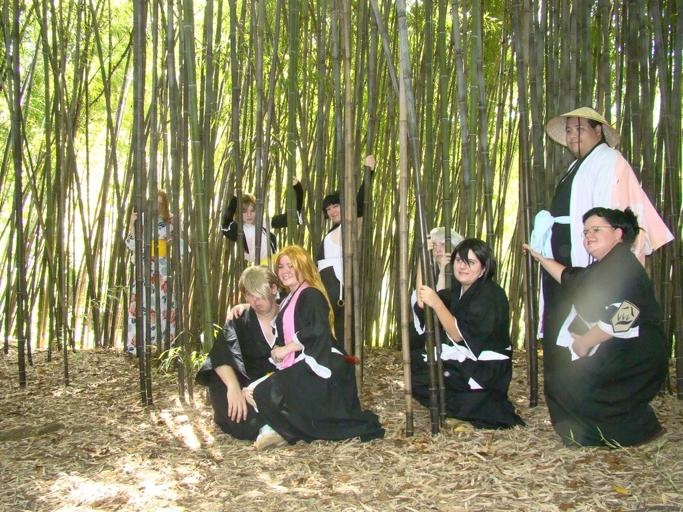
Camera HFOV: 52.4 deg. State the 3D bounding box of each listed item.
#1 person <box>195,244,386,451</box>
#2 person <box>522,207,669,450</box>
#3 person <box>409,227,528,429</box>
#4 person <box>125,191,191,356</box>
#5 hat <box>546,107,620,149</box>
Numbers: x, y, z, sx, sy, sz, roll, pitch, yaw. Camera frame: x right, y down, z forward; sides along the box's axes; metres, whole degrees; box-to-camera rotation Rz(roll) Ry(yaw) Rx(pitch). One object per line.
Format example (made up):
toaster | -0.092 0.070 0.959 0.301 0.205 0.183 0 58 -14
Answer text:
person | -0.258 0.448 3.388 0.786 0.966 0.856 9 -18 -39
person | 1.119 0.293 2.953 0.524 0.988 0.287 3 11 17
person | 0.598 0.330 3.324 0.514 0.845 0.693 1 11 6
person | -1.106 0.169 4.027 0.328 1.063 1.288 -4 11 -17
hat | 1.107 -0.607 3.206 0.239 0.109 0.264 10 -15 16
